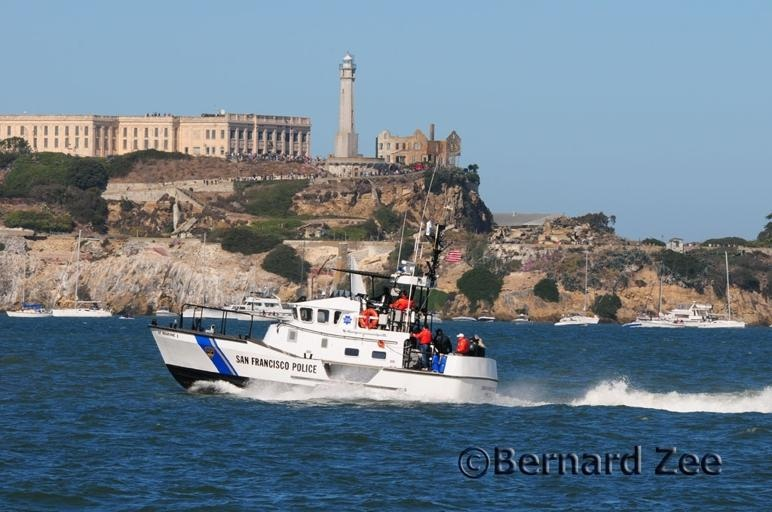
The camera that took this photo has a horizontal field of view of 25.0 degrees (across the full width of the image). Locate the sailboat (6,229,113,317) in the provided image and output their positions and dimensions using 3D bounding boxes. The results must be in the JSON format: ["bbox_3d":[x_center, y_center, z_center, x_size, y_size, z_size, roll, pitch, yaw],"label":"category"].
[{"bbox_3d":[-42.602,2.739,227.689,13.475,9.667,29.018,0,4,-8],"label":"sailboat"}]

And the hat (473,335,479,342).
[{"bbox_3d":[7.260,6.966,141.207,0.380,0.515,0.338,-14,9,11],"label":"hat"}]

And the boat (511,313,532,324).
[{"bbox_3d":[18.336,8.821,235.862,2.372,0.912,2.745,1,4,6],"label":"boat"}]

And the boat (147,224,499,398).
[{"bbox_3d":[-5.456,5.233,144.924,28.245,14.108,9.007,4,-6,-1],"label":"boat"}]
